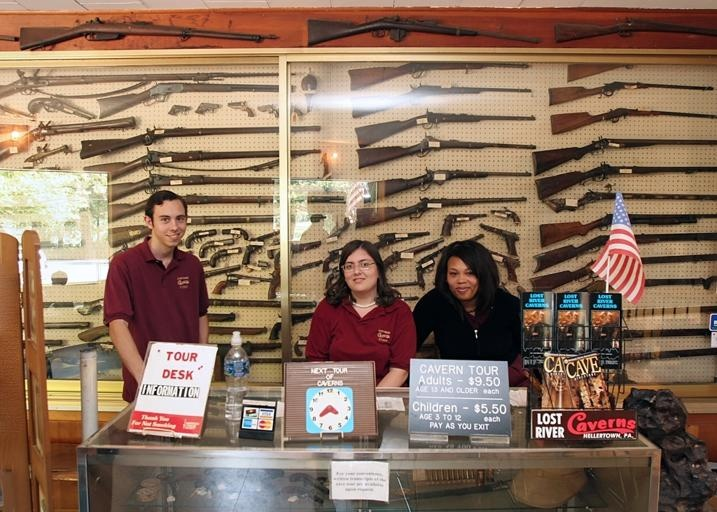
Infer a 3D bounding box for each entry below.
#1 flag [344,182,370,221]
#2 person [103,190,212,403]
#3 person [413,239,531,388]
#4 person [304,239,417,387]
[{"bbox_3d":[-0.028,-0.480,5.654,0.253,0.319,0.084,9,1,4],"label":"flag"},{"bbox_3d":[-1.410,0.191,4.687,0.380,1.319,0.759,-6,-7,43],"label":"person"},{"bbox_3d":[0.913,0.467,5.177,0.922,1.066,0.409,0,-3,8],"label":"person"},{"bbox_3d":[0.008,0.512,4.718,0.897,1.145,0.784,-1,0,17],"label":"person"}]
